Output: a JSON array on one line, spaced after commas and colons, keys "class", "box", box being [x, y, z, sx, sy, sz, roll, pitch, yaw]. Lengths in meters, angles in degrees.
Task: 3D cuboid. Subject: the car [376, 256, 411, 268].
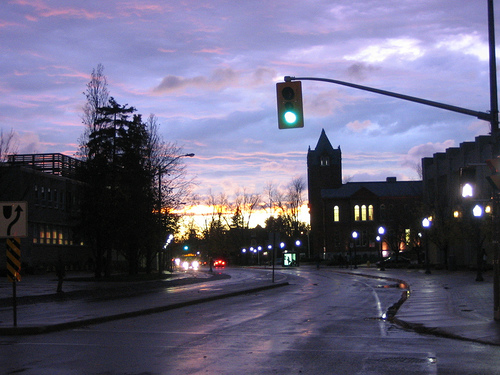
[{"class": "car", "box": [17.787, 8.942, 81.946, 4.353, 1.491, 2.037, 3, -5, 5]}]

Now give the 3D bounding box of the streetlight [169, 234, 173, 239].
[{"class": "streetlight", "box": [-7.098, 4.296, 59.750, 0.295, 0.166, 0.287, -23, 38, -28]}]
